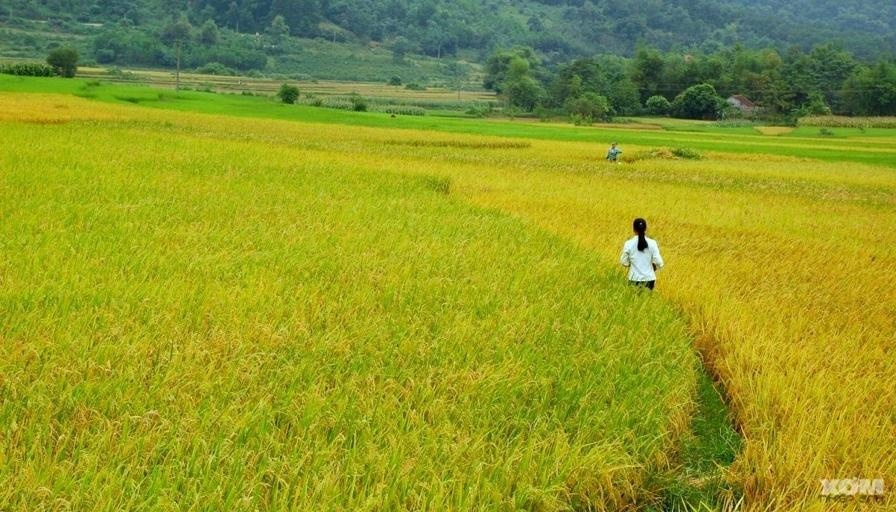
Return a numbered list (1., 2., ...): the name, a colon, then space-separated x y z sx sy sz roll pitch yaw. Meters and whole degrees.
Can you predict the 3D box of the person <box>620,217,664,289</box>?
1. person: 4.100 -0.033 14.826 0.807 1.522 0.532 6 12 8
